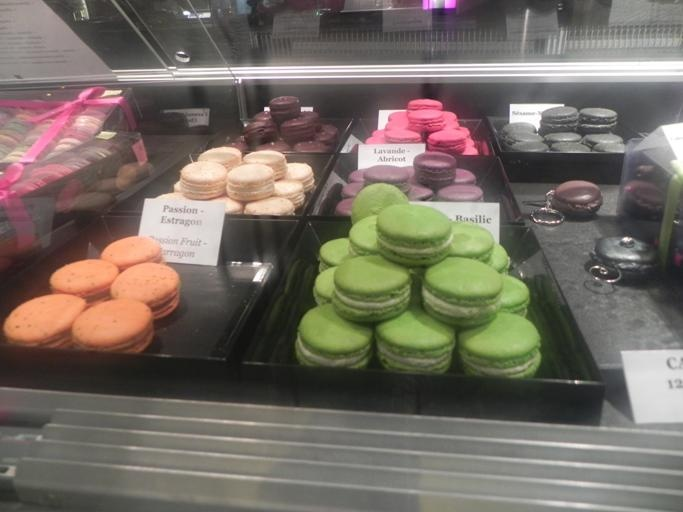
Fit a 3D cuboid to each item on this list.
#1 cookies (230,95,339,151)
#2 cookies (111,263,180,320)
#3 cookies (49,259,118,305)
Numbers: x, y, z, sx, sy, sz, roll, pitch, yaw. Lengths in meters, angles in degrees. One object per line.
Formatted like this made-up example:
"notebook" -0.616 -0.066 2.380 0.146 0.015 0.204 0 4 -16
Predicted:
"cookies" -0.265 -0.642 2.426 0.407 0.178 0.378 2 25 4
"cookies" -0.587 0.093 1.478 0.172 0.079 0.169 -3 32 -8
"cookies" -0.791 0.069 1.484 0.148 0.057 0.150 -18 33 -39
